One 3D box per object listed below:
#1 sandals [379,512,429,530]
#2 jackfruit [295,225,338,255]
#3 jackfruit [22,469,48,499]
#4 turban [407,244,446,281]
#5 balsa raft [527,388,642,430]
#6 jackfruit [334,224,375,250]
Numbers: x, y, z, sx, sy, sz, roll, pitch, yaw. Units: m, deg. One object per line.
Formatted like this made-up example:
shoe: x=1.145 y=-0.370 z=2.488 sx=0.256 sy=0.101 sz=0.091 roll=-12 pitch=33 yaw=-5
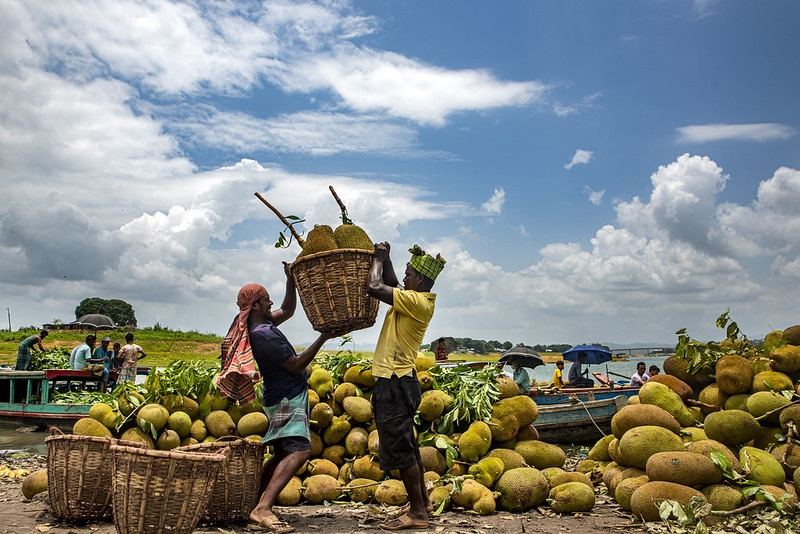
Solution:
sandals: x=0.051 y=3.276 z=7.155 sx=0.638 sy=0.185 sz=0.225 roll=2 pitch=-16 yaw=-1
jackfruit: x=-0.932 y=-0.290 z=6.476 sx=0.409 sy=0.476 sz=0.403 roll=4 pitch=-14 yaw=-23
jackfruit: x=-5.406 y=3.266 z=8.269 sx=0.514 sy=0.408 sz=0.221 roll=-2 pitch=-4 yaw=25
turban: x=0.345 y=-0.104 z=7.461 sx=0.418 sy=0.337 sz=0.518 roll=10 pitch=3 yaw=39
balsa raft: x=5.488 y=3.965 z=16.134 sx=0.803 sy=1.027 sz=3.130 roll=17 pitch=-17 yaw=-21
jackfruit: x=-0.606 y=-0.343 z=6.856 sx=0.432 sy=0.247 sz=0.323 roll=22 pitch=-53 yaw=-36
